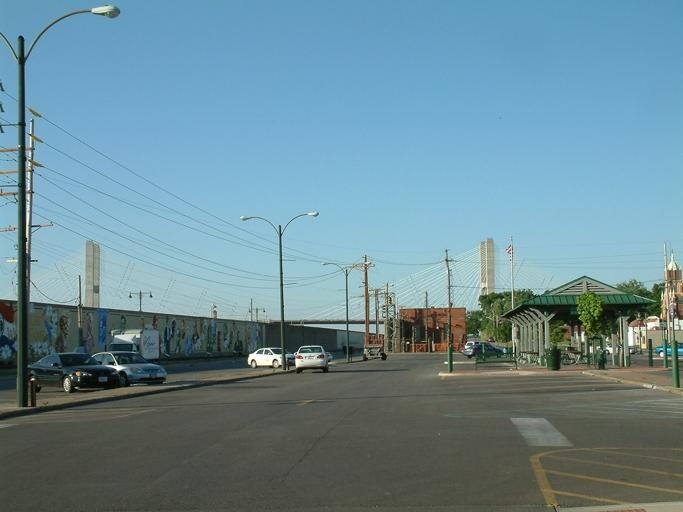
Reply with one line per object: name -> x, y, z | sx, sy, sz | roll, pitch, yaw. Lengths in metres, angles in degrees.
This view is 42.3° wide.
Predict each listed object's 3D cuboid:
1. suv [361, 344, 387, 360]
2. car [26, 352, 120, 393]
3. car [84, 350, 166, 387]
suv -> 3.287, 9.554, 87.984 | 3.005, 2.134, 4.279 | 0, -7, 3
car -> -11.173, 4.650, 35.685 | 3.537, 1.234, 1.626 | -9, -10, 41
car -> -9.680, 5.004, 39.328 | 3.084, 1.079, 1.495 | -7, -8, 44
